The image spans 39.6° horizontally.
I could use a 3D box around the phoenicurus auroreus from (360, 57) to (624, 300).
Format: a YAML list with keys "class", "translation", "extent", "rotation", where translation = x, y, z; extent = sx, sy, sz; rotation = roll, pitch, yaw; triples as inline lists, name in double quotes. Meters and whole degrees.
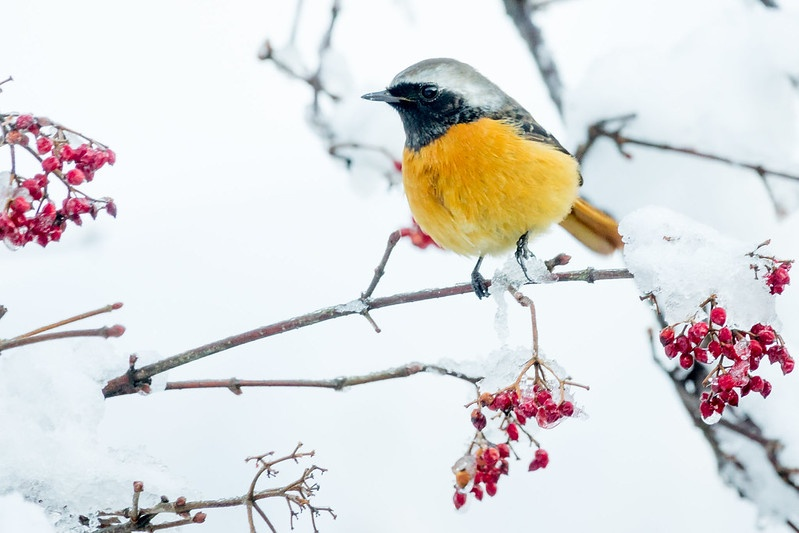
- class: "phoenicurus auroreus"
  translation: [0.391, -0.550, 6.176]
  extent: [1.150, 0.713, 0.718]
  rotation: [40, 54, 13]
